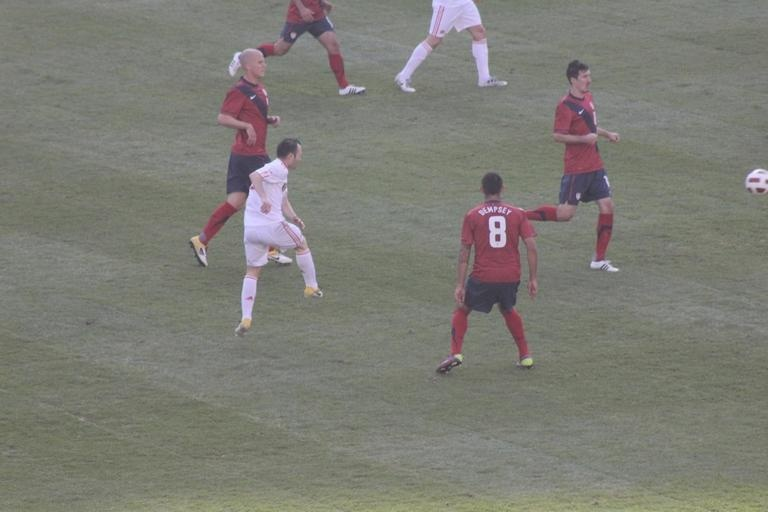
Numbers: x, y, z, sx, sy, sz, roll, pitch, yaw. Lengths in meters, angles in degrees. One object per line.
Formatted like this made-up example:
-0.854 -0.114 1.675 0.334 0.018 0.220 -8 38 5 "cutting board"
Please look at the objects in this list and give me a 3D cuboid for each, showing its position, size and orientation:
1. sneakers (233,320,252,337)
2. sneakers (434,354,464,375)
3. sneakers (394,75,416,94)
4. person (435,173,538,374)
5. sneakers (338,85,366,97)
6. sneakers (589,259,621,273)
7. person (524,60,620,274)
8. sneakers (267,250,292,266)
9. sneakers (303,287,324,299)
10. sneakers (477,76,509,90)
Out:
-1.939 1.003 25.490 0.137 0.349 0.099 -29 80 -25 "sneakers"
0.886 1.481 25.186 0.335 0.116 0.246 -16 7 34 "sneakers"
0.355 -2.781 30.440 0.244 0.494 0.153 -10 67 24 "sneakers"
1.459 0.259 25.186 1.246 2.547 1.395 4 28 4 "person"
-0.524 -2.698 30.348 0.497 0.173 0.151 -5 23 2 "sneakers"
3.167 0.164 26.766 0.487 0.175 0.141 5 41 -2 "sneakers"
2.812 -1.302 26.677 1.253 2.881 1.199 4 28 3 "person"
-1.514 0.031 27.108 0.439 0.170 0.142 10 35 -4 "sneakers"
-0.983 0.522 26.055 0.270 0.141 0.123 -4 29 -5 "sneakers"
1.804 -2.835 30.517 0.472 0.144 0.159 -1 34 -2 "sneakers"
